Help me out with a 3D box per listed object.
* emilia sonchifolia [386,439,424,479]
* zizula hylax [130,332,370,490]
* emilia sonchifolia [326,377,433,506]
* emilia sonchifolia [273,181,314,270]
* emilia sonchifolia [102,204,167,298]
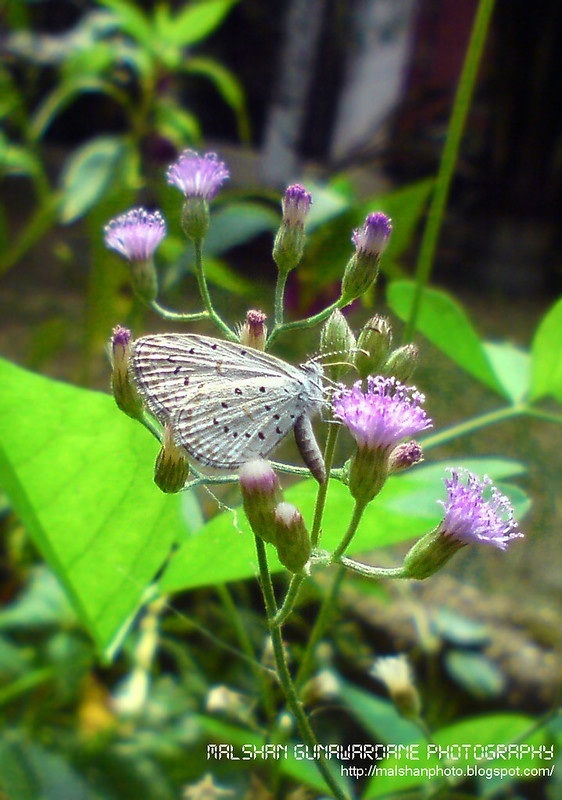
[{"bbox_3d":[0.092,0.043,0.600,0.015,0.019,0.029,31,-2,-18],"label":"emilia sonchifolia"},{"bbox_3d":[-0.030,0.004,0.562,0.143,0.096,0.079,-5,36,-9],"label":"zizula hylax"},{"bbox_3d":[0.069,0.033,0.588,0.076,0.088,0.078,5,-6,-5],"label":"emilia sonchifolia"},{"bbox_3d":[0.007,-0.141,0.657,0.024,0.074,0.029,20,17,29],"label":"emilia sonchifolia"},{"bbox_3d":[-0.127,-0.146,0.719,0.049,0.080,0.126,-2,34,-4],"label":"emilia sonchifolia"}]
